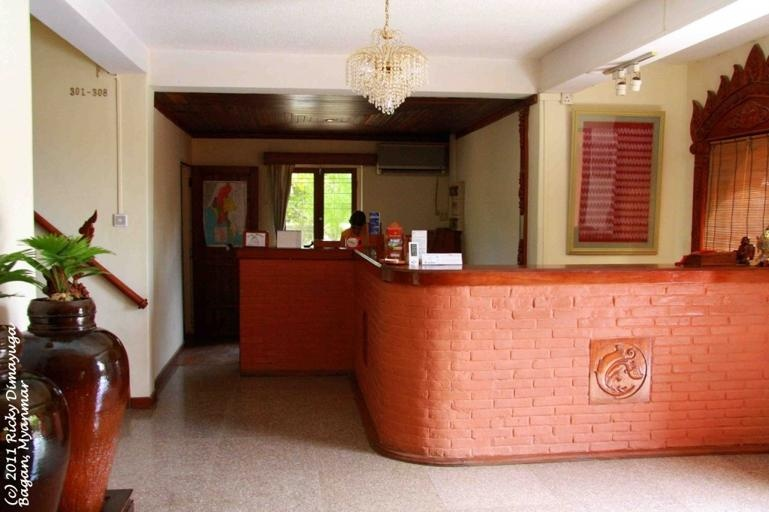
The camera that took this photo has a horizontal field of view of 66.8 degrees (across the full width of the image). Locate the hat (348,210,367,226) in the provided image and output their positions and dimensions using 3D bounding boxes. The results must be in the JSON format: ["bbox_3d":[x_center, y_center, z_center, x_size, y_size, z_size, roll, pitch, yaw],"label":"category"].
[{"bbox_3d":[-0.355,-0.518,7.955,0.191,0.204,0.243,0,-6,-4],"label":"hat"}]

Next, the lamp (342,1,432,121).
[{"bbox_3d":[0.000,-1.666,5.186,0.628,0.740,0.352,9,16,34],"label":"lamp"}]
